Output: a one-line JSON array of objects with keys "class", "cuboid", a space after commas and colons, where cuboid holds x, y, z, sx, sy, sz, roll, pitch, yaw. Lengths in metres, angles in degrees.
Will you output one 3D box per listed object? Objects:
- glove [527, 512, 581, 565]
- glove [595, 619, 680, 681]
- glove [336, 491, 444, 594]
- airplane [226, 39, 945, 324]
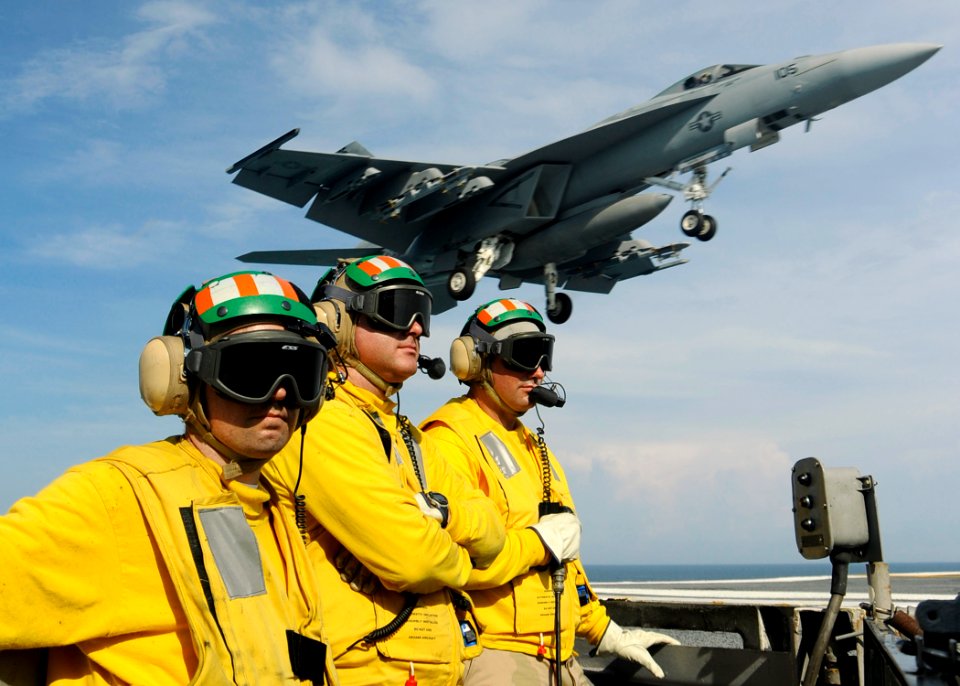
[{"class": "glove", "cuboid": [0.441, 1.103, 7.639, 0.268, 0.268, 0.320, 0, -7, 3]}, {"class": "glove", "cuboid": [0.951, 1.902, 8.251, 0.503, 0.162, 0.318, 13, 31, 5]}, {"class": "glove", "cuboid": [-0.398, 1.021, 7.002, 0.425, 0.206, 0.546, -38, -7, -41]}, {"class": "airplane", "cuboid": [1.475, -2.391, 19.740, 7.319, 1.852, 5.388, -19, -15, 31]}]
